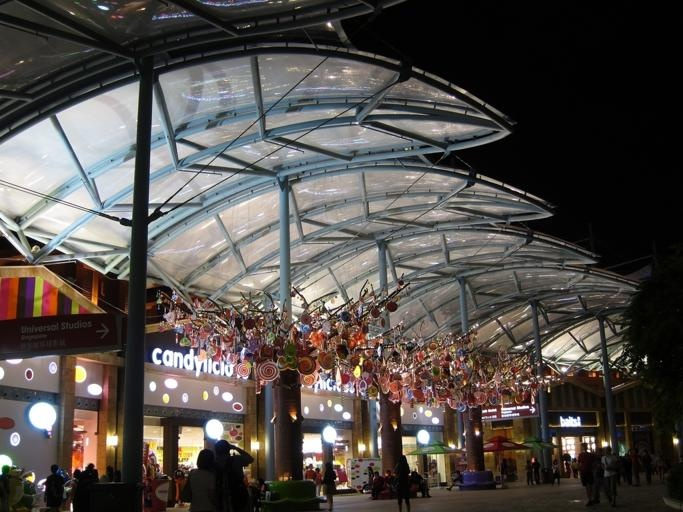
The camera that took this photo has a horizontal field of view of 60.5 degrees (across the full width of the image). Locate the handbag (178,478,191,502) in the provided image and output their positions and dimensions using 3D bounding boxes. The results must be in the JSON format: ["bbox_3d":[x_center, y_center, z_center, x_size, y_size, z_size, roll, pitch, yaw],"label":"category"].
[{"bbox_3d":[-2.460,3.689,9.225,0.109,0.291,0.228,8,-12,-22],"label":"handbag"}]
